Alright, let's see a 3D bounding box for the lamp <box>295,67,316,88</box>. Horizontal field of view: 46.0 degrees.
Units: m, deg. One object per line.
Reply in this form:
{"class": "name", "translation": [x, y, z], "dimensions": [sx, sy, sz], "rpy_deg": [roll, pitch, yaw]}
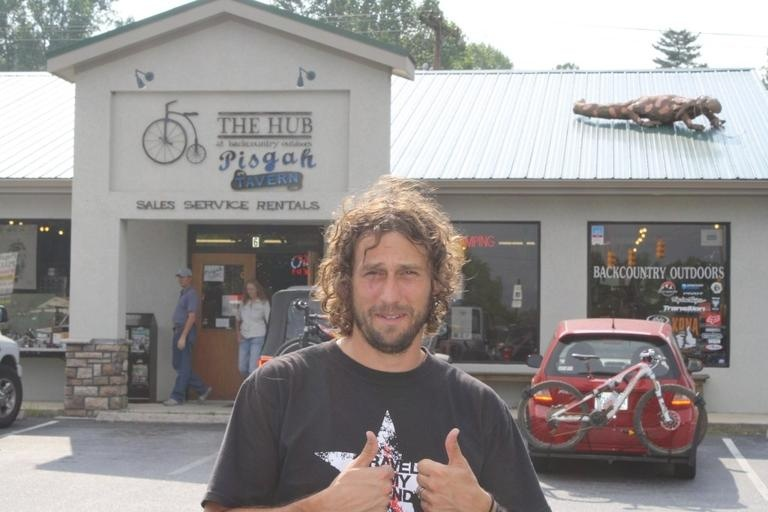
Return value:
{"class": "lamp", "translation": [-1.539, -3.556, 17.885], "dimensions": [0.224, 0.307, 0.462], "rpy_deg": [-5, -3, 24]}

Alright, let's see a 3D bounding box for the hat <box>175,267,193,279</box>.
{"class": "hat", "translation": [-4.135, 0.347, 18.938], "dimensions": [0.230, 0.188, 0.337], "rpy_deg": [1, -1, 16]}

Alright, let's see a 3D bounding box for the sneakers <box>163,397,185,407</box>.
{"class": "sneakers", "translation": [-4.312, 2.997, 18.583], "dimensions": [0.427, 0.175, 0.157], "rpy_deg": [5, -3, -17]}

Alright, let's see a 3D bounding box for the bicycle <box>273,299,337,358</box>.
{"class": "bicycle", "translation": [-1.064, 1.048, 13.128], "dimensions": [1.010, 0.860, 0.749], "rpy_deg": [-2, 2, -2]}
